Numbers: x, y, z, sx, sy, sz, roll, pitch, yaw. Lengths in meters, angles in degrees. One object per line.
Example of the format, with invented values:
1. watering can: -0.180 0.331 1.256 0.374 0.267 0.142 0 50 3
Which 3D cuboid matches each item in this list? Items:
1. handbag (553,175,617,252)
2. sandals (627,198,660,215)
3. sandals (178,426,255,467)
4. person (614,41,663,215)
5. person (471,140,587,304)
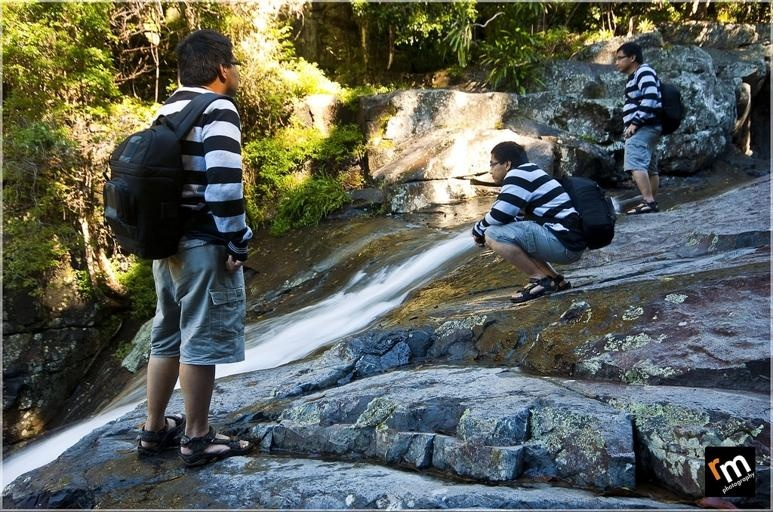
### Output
1. handbag: 2.316 -0.533 6.947 0.498 0.762 0.551 -13 -4 0
2. sandals: 3.609 -0.699 8.744 0.567 0.264 0.197 -2 8 22
3. sandals: -1.450 1.582 5.306 0.585 0.262 0.258 -5 0 -23
4. person: 3.597 -1.769 8.557 0.536 2.336 0.428 -4 8 25
5. person: 1.630 -0.384 7.112 1.272 1.780 1.206 -5 -3 26
